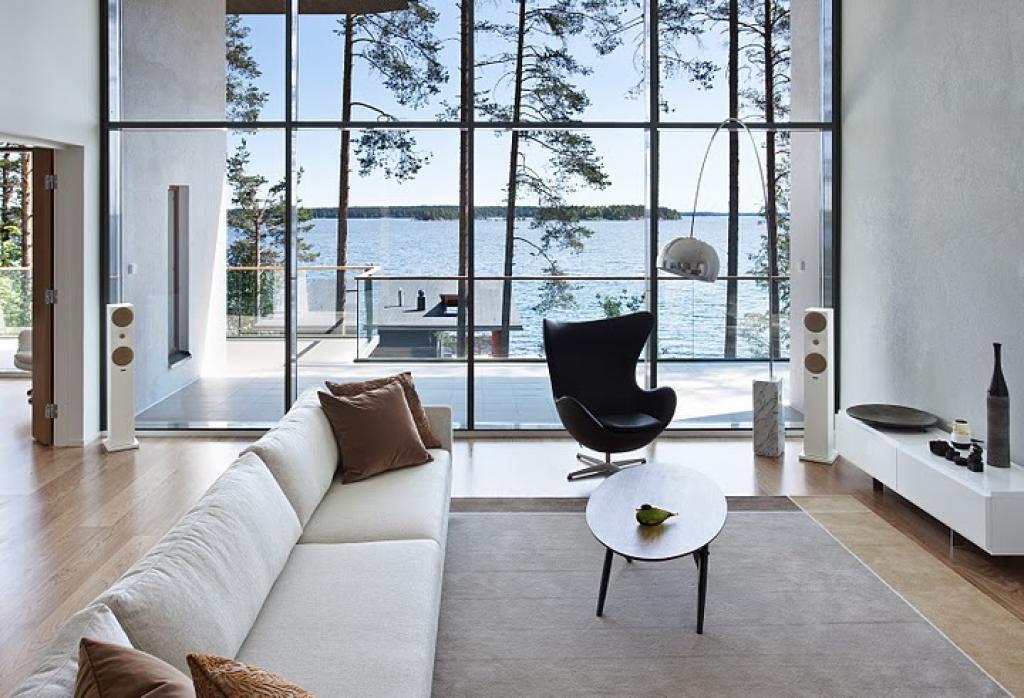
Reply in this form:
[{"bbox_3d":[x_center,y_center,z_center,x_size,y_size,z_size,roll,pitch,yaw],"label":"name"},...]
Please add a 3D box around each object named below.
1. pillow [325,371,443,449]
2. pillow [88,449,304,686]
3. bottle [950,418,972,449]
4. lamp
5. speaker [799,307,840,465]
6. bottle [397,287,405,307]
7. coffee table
[{"bbox_3d":[-0.867,0.414,5.367,0.183,0.575,0.622,-37,-24,28],"label":"pillow"},{"bbox_3d":[-1.451,1.010,3.634,0.275,0.241,0.914,32,9,-3],"label":"pillow"},{"bbox_3d":[2.995,0.574,5.333,0.144,0.186,0.202,6,9,31],"label":"bottle"},{"bbox_3d":[1.835,-0.533,6.644,0.931,2.946,1.990,2,10,19],"label":"lamp"},{"bbox_3d":[2.589,0.313,6.640,0.258,1.275,0.307,2,11,19],"label":"speaker"},{"bbox_3d":[-1.043,-0.469,7.321,0.063,0.169,0.009,-2,10,0],"label":"bottle"},{"bbox_3d":[0.871,1.175,4.686,0.821,0.547,0.793,1,27,13],"label":"coffee table"}]
